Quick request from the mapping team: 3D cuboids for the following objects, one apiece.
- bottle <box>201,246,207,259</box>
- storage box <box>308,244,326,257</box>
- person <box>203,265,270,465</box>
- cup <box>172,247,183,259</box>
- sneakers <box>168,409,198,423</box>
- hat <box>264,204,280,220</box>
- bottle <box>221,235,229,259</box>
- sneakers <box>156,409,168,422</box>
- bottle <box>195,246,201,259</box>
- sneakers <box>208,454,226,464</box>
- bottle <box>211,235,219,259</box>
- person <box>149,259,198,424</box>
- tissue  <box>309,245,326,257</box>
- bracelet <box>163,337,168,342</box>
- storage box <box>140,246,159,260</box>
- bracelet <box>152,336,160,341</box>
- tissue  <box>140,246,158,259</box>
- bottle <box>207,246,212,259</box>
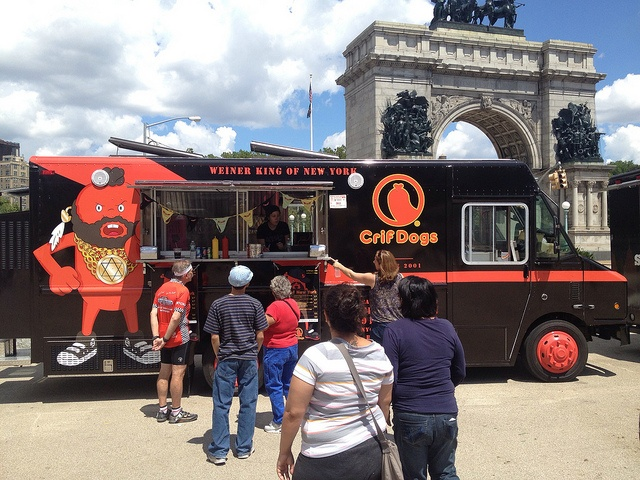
[{"bbox_3d":[-1.896,0.219,10.884,0.096,0.144,0.250,-2,9,-11],"label":"bottle"},{"bbox_3d":[-0.030,0.178,10.948,0.188,0.128,0.195,0,3,5],"label":"storage box"},{"bbox_3d":[-1.130,1.667,8.928,0.825,2.588,0.484,-2,8,-11],"label":"person"},{"bbox_3d":[-2.334,0.226,10.897,0.144,0.172,0.151,0,0,0],"label":"cup"},{"bbox_3d":[-2.054,2.649,10.016,0.393,0.195,0.192,-1,0,-18],"label":"sneakers"},{"bbox_3d":[-0.858,-0.487,11.628,0.242,0.244,0.190,-17,-1,15],"label":"hat"},{"bbox_3d":[-1.555,0.134,10.941,0.104,0.301,0.237,-2,8,-8],"label":"bottle"},{"bbox_3d":[-2.367,2.634,9.971,0.107,0.112,0.243,2,6,-2],"label":"sneakers"},{"bbox_3d":[-1.980,0.218,10.886,0.096,0.145,0.216,-2,9,-12],"label":"bottle"},{"bbox_3d":[-1.367,2.937,8.869,0.098,0.119,0.241,4,8,-44],"label":"sneakers"},{"bbox_3d":[-1.710,0.138,10.884,0.105,0.311,0.322,-2,9,-9],"label":"bottle"},{"bbox_3d":[-2.161,1.535,9.761,0.606,2.461,0.453,-1,8,-6],"label":"person"},{"bbox_3d":[-0.069,0.175,10.929,0.198,0.134,0.196,0,0,-23],"label":"tissue "},{"bbox_3d":[-2.235,1.443,9.595,0.065,0.046,0.068,-1,3,-11],"label":"bracelet"},{"bbox_3d":[-2.725,0.206,10.606,0.199,0.156,0.211,2,-4,-7],"label":"storage box"},{"bbox_3d":[-2.375,1.429,9.649,0.073,0.052,0.072,-5,-6,24],"label":"bracelet"},{"bbox_3d":[-2.742,0.207,10.644,0.258,0.191,0.175,-2,9,-12],"label":"tissue "},{"bbox_3d":[-1.813,0.219,10.932,0.075,0.140,0.366,-2,9,-9],"label":"bottle"}]
